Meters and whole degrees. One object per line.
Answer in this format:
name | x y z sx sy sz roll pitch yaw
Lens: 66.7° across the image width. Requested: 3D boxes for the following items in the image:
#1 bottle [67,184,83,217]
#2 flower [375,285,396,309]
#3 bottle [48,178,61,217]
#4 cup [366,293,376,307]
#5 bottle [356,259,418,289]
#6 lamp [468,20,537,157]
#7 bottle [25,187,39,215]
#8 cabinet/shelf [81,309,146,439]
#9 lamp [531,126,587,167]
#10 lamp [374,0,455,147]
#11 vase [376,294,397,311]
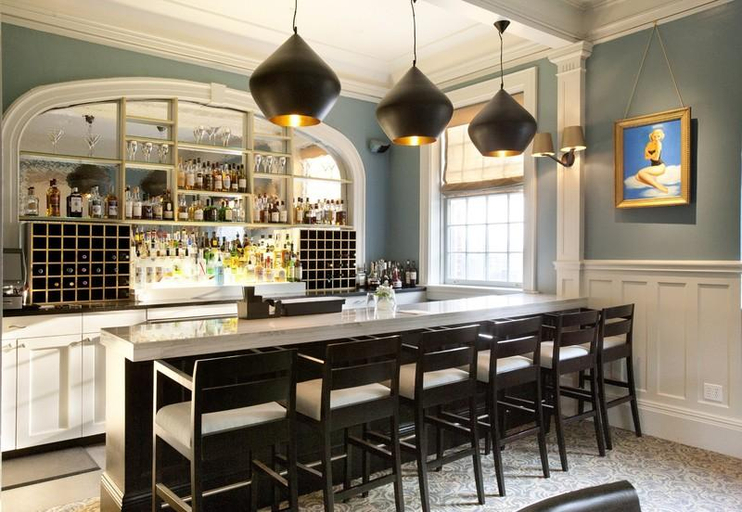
bottle | -3.137 -0.574 5.957 0.162 0.314 0.188 -5 11 -26
flower | 0.133 0.375 5.172 0.192 0.268 0.190 -2 3 -15
bottle | -3.299 -0.610 5.848 0.136 0.383 0.217 -5 11 -25
cup | -0.018 0.410 5.316 0.101 0.121 0.126 0 -14 -5
bottle | 0.243 0.246 7.797 0.655 0.314 0.421 2 3 33
lamp | 1.120 -1.149 4.805 0.549 0.565 0.392 2 10 14
bottle | -3.490 -0.575 5.781 0.119 0.286 0.118 0 10 0
cabinet/shelf | -2.545 1.134 5.537 0.609 1.176 0.186 -5 11 -27
lamp | 2.045 -1.162 6.095 0.576 0.378 0.368 -4 -4 41
lamp | 0.405 -1.640 4.889 0.577 1.317 1.403 1 10 7
vase | 0.141 0.414 5.107 0.137 0.128 0.135 -3 9 -37
